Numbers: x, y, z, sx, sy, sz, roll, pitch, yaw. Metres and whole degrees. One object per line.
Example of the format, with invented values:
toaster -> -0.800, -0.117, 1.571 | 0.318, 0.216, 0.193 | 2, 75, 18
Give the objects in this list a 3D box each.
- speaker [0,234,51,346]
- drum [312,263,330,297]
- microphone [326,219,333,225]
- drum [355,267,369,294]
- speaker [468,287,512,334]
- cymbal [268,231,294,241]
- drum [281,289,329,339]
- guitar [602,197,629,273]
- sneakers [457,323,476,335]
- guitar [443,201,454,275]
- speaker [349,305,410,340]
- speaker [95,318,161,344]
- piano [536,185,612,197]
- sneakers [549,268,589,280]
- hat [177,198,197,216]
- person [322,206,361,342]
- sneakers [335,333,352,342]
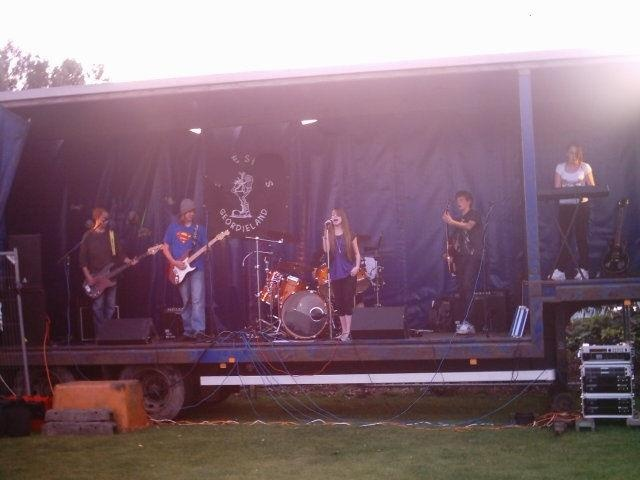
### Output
speaker -> -4.071, 0.692, 9.106 | 0.426, 1.576, 0.229 | -2, 1, -19
drum -> 0.009, 0.484, 9.462 | 0.245, 0.268, 0.272 | -6, 42, -9
microphone -> 0.125, -0.253, 9.221 | 0.082, 0.049, 0.087 | -7, -5, 26
drum -> 0.617, 0.631, 9.698 | 0.275, 0.327, 0.299 | -3, 19, 1
speaker -> 2.372, 0.990, 9.094 | 0.492, 1.034, 0.539 | -1, -4, 11
cymbal -> -0.591, -0.049, 9.962 | 0.209, 0.055, 0.226 | 3, -20, 6
drum -> -0.232, 1.014, 9.218 | 0.652, 0.770, 0.257 | 3, 23, 1
guitar -> 4.194, 0.023, 9.255 | 0.384, 1.393, 0.157 | 0, -19, 25
sneakers -> 1.902, 1.167, 8.539 | 0.163, 0.126, 0.172 | 1, -1, 5
guitar -> 1.937, -0.023, 9.763 | 0.158, 1.062, 0.372 | -5, -3, 8
speaker -> 0.732, 1.046, 8.155 | 0.653, 0.286, 0.243 | -2, 1, 8
speaker -> -2.563, 1.219, 8.667 | 0.512, 0.226, 0.384 | -1, 1, 9
piano -> 3.027, -0.570, 7.851 | 0.906, 0.146, 0.150 | -2, 1, -5
sneakers -> 3.492, 0.482, 9.136 | 0.273, 0.138, 0.199 | -5, -3, 18
hat -> -2.046, -0.497, 9.974 | 0.266, 0.141, 0.245 | -19, 6, 46
person -> 0.288, 0.441, 9.062 | 0.487, 1.388, 0.706 | -1, 1, 13
sneakers -> 0.315, 1.292, 8.525 | 0.093, 0.112, 0.263 | 2, 0, -30
